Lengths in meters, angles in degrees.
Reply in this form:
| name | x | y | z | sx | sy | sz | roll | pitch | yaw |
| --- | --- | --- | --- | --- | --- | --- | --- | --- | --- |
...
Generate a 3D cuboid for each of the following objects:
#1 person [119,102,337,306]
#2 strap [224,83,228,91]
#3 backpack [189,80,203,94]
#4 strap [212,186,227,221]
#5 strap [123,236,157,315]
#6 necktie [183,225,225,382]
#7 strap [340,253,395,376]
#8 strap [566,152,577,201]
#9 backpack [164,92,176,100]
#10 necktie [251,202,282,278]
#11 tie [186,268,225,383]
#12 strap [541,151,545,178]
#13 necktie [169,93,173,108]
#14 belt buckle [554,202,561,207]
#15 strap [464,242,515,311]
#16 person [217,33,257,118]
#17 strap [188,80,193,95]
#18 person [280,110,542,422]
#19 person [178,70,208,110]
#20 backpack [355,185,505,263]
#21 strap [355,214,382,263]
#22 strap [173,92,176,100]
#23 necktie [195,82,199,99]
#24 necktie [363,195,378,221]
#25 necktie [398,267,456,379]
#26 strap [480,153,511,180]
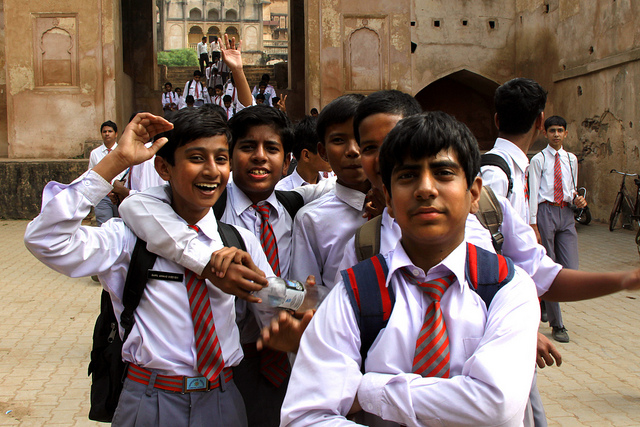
| name | x | y | z | sx | sy | sz | roll | pitch | yaw |
| --- | --- | --- | --- | --- | --- | --- | --- | --- | --- |
| person | -0.536 | -0.028 | 3.692 | 0.399 | 1.195 | 1.360 | 8 | 12 | 42 |
| strap | -2.352 | -3.222 | 15.279 | 0.108 | 0.142 | 0.097 | 4 | 5 | -15 |
| backpack | -3.377 | -3.442 | 16.486 | 0.309 | 0.413 | 0.432 | 0 | -14 | -11 |
| strap | -0.650 | -0.061 | 4.014 | 0.052 | 0.148 | 0.105 | 41 | -28 | -17 |
| strap | -1.027 | 0.374 | 3.405 | 0.083 | 0.356 | 0.244 | 9 | 3 | -24 |
| necktie | -0.631 | 0.602 | 3.469 | 0.146 | 0.071 | 0.852 | 1 | 40 | -14 |
| strap | 0.241 | 0.505 | 3.000 | 0.253 | 0.564 | 0.169 | 0 | 10 | -3 |
| strap | 3.336 | -0.470 | 8.026 | 0.087 | 0.683 | 0.091 | 1 | -7 | 35 |
| backpack | -4.241 | -3.353 | 17.140 | 0.159 | 0.241 | 0.217 | -1 | 1 | -1 |
| necktie | -0.344 | 0.177 | 3.982 | 0.149 | 0.459 | 0.261 | -4 | 11 | -19 |
| tie | -0.618 | 0.640 | 3.354 | 0.157 | 0.731 | 0.051 | 1 | 25 | 1 |
| strap | 2.949 | -0.651 | 8.000 | 0.047 | 0.297 | 0.404 | 4 | 11 | 19 |
| necktie | -4.154 | -3.170 | 16.963 | 0.058 | 0.364 | 0.158 | -7 | 12 | -35 |
| belt buckle | 2.889 | -0.108 | 7.354 | 0.043 | 0.034 | 0.045 | 2 | 4 | 8 |
| strap | 0.821 | 0.309 | 3.012 | 0.213 | 0.307 | 0.289 | 3 | -2 | 18 |
| person | -0.628 | -1.064 | 4.852 | 0.168 | 0.746 | 0.137 | -17 | 28 | -8 |
| strap | -3.515 | -3.511 | 16.607 | 0.112 | 0.174 | 0.167 | -2 | 38 | 1 |
| person | 0.485 | 0.278 | 2.944 | 1.133 | 1.505 | 0.703 | 3 | 11 | 15 |
| person | -3.424 | -3.081 | 16.759 | 0.678 | 1.784 | 0.484 | -5 | 30 | -14 |
| backpack | 0.637 | 0.048 | 3.654 | 0.679 | 0.670 | 0.489 | -13 | 11 | -4 |
| strap | 0.315 | 0.124 | 3.317 | 0.227 | 0.233 | 0.161 | -5 | -11 | 10 |
| strap | -4.094 | -3.314 | 17.016 | 0.062 | 0.246 | 0.247 | 2 | 1 | -4 |
| necktie | -3.330 | -3.357 | 16.410 | 0.099 | 0.388 | 0.262 | -3 | 11 | -16 |
| necktie | 0.297 | -0.040 | 3.677 | 0.053 | 0.123 | 0.089 | -16 | 58 | -41 |
| necktie | 0.518 | 0.535 | 2.951 | 0.274 | 0.482 | 0.238 | 2 | 10 | 9 |
| strap | 1.233 | -0.352 | 4.340 | 0.250 | 0.267 | 0.190 | 1 | 7 | 6 |
